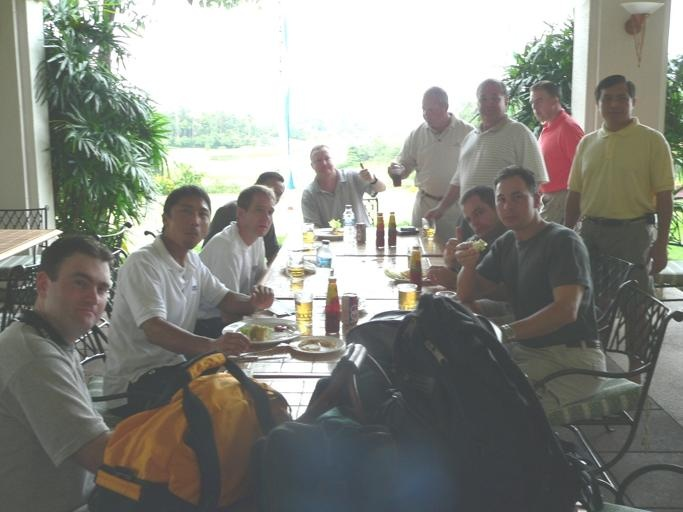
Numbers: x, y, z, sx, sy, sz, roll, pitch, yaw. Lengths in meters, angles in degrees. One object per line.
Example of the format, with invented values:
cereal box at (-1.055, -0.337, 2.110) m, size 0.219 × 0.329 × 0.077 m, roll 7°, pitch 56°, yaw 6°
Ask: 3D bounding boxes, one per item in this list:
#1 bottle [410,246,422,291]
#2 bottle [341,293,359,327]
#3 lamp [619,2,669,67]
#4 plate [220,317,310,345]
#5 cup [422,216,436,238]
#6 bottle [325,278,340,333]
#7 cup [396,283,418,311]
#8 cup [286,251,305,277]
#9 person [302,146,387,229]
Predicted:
bottle at (0.414, 0.064, 3.221) m, size 0.075 × 0.231 × 0.255 m, roll -1°, pitch 7°, yaw 7°
bottle at (0.040, 0.237, 2.701) m, size 0.080 × 0.142 × 0.169 m, roll -2°, pitch 6°, yaw 2°
lamp at (2.544, -1.898, 4.924) m, size 0.305 × 0.541 × 0.370 m, roll 2°, pitch 8°, yaw 28°
plate at (-0.344, 0.325, 2.525) m, size 0.319 × 0.078 × 0.270 m, roll -3°, pitch 6°, yaw -14°
cup at (0.735, -0.224, 4.773) m, size 0.121 × 0.161 × 0.158 m, roll -1°, pitch 2°, yaw -18°
bottle at (-0.034, 0.216, 2.545) m, size 0.080 × 0.253 × 0.078 m, roll -2°, pitch 7°, yaw 0°
cup at (0.317, 0.199, 2.799) m, size 0.118 × 0.129 × 0.119 m, roll 0°, pitch 4°, yaw 0°
cup at (-0.270, 0.044, 3.544) m, size 0.135 × 0.216 × 0.132 m, roll -1°, pitch -2°, yaw 0°
person at (0.011, -0.653, 5.431) m, size 0.745 × 0.764 × 0.563 m, roll -3°, pitch 7°, yaw -13°
